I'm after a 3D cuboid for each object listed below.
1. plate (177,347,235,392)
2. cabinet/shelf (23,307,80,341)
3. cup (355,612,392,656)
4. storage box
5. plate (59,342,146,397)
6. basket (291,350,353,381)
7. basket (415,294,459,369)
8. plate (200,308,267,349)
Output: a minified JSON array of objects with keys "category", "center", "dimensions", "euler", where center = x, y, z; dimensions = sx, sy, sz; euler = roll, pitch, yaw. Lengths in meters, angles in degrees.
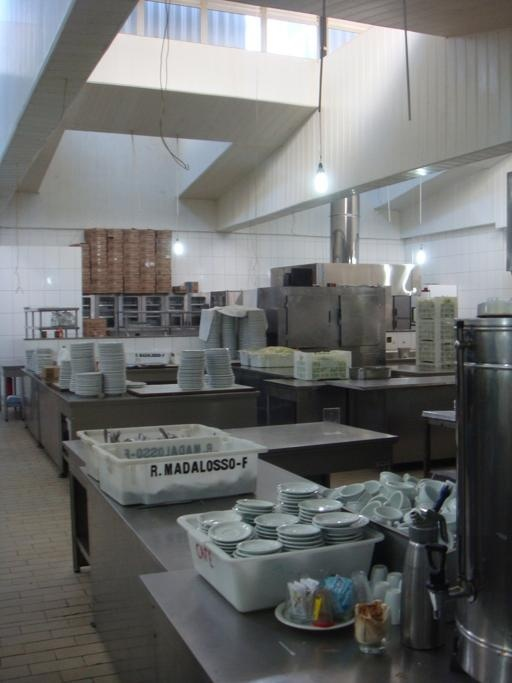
[{"category":"plate","center":[-0.429,0.243,4.834],"dimensions":[0.469,0.357,0.320],"euler":[-4,5,-35]},{"category":"cabinet/shelf","center":[-3.621,-0.319,10.192],"dimensions":[0.940,0.558,1.801],"euler":[-13,6,-19]},{"category":"cup","center":[0.200,0.499,0.976],"dimensions":[0.063,0.078,0.053],"euler":[-10,6,4]},{"category":"storage box","center":[-2.605,-1.577,11.521],"dimensions":[1.861,1.154,0.337],"euler":[-13,6,-16]},{"category":"plate","center":[-1.229,0.240,4.656],"dimensions":[0.594,0.312,0.470],"euler":[0,0,-35]},{"category":"basket","center":[0.700,0.267,5.998],"dimensions":[0.622,0.354,0.428],"euler":[-11,6,4]},{"category":"basket","center":[2.173,-0.103,6.922],"dimensions":[0.544,0.854,0.396],"euler":[-8,6,21]},{"category":"plate","center":[-0.286,-0.175,7.955],"dimensions":[0.598,0.591,0.770],"euler":[0,0,21]}]
